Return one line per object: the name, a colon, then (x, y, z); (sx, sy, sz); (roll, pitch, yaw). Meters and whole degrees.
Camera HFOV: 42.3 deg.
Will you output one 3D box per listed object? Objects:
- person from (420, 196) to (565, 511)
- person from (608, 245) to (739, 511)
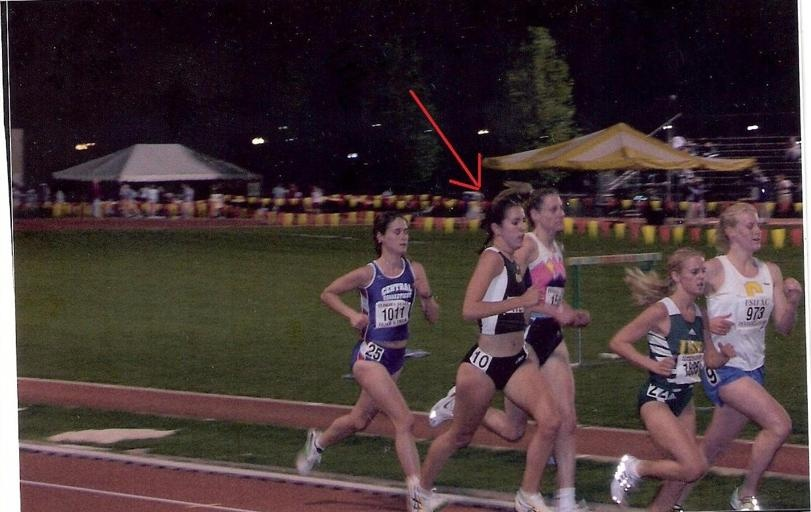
person: (1.082, 1.148, 12.380); (1.488, 3.755, 0.575); (3, 4, 1)
person: (3.073, 1.455, 12.293); (1.176, 3.092, 0.595); (4, 4, 15)
